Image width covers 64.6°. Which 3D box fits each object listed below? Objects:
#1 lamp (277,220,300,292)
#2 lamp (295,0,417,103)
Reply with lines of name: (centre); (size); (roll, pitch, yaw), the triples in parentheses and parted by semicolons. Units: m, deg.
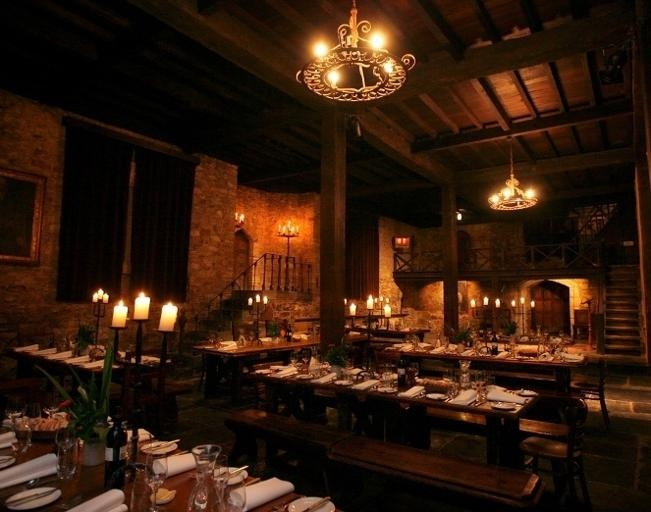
lamp: (-0.943, -0.050, 13.394); (0.545, 1.925, 1.241); (1, -8, -5)
lamp: (0.325, -2.298, 5.623); (1.219, 0.943, 1.083); (3, -16, -14)
